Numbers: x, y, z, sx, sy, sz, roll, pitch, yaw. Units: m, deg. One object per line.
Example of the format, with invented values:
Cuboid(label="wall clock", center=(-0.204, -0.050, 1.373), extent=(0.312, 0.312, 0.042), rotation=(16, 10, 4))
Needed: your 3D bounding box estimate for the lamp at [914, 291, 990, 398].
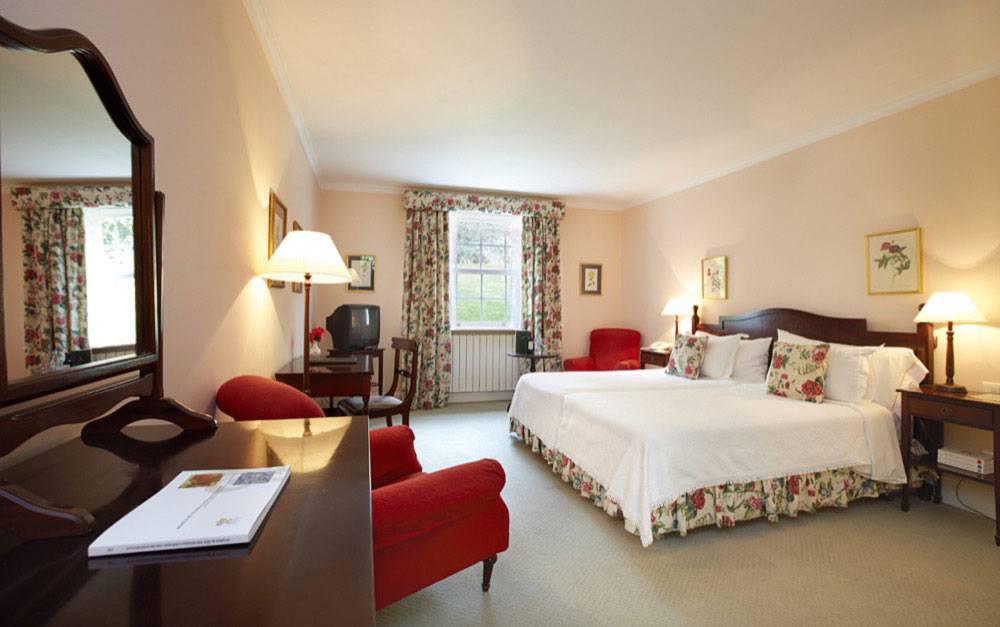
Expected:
Cuboid(label="lamp", center=(3.242, 0.193, 4.569), extent=(0.423, 0.707, 0.300), rotation=(6, 6, 34))

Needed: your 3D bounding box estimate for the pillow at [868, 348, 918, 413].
Cuboid(label="pillow", center=(2.988, 0.475, 4.808), extent=(0.390, 0.425, 0.129), rotation=(21, 12, 42))

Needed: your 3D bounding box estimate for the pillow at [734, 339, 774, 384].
Cuboid(label="pillow", center=(2.283, 0.430, 5.689), extent=(0.115, 0.351, 0.381), rotation=(26, -19, -33))

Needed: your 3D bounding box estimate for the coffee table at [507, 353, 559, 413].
Cuboid(label="coffee table", center=(0.439, 0.763, 7.233), extent=(0.634, 0.614, 0.624), rotation=(1, -5, -7))

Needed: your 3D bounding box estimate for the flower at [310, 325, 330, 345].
Cuboid(label="flower", center=(-1.778, 0.198, 6.232), extent=(0.194, 0.182, 0.196), rotation=(6, 6, 23))

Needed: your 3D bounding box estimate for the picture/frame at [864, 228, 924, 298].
Cuboid(label="picture/frame", center=(3.096, -0.399, 4.937), extent=(0.038, 0.748, 0.555), rotation=(3, -3, -33))

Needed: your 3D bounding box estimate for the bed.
Cuboid(label="bed", center=(1.651, 0.678, 5.409), extent=(2.668, 1.358, 2.688), rotation=(0, 4, -11))

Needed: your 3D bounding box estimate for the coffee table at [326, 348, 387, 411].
Cuboid(label="coffee table", center=(-1.317, 0.663, 6.681), extent=(0.697, 0.687, 0.516), rotation=(-2, -4, 16))

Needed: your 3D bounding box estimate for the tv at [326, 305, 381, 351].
Cuboid(label="tv", center=(-1.436, 0.142, 6.097), extent=(0.355, 0.436, 0.535), rotation=(1, 1, 21))

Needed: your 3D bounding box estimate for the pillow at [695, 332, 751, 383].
Cuboid(label="pillow", center=(2.044, 0.404, 5.827), extent=(0.128, 0.391, 0.424), rotation=(19, -8, -26))

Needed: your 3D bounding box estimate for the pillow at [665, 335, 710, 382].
Cuboid(label="pillow", center=(1.722, 0.348, 5.940), extent=(0.472, 0.426, 0.136), rotation=(4, -1, -27))

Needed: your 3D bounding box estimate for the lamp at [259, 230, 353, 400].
Cuboid(label="lamp", center=(-1.432, -0.037, 4.583), extent=(0.554, 1.096, 1.308), rotation=(1, 5, -21))

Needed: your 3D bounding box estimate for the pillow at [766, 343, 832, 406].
Cuboid(label="pillow", center=(2.349, 0.472, 4.944), extent=(0.344, 0.370, 0.136), rotation=(22, -11, 46))
